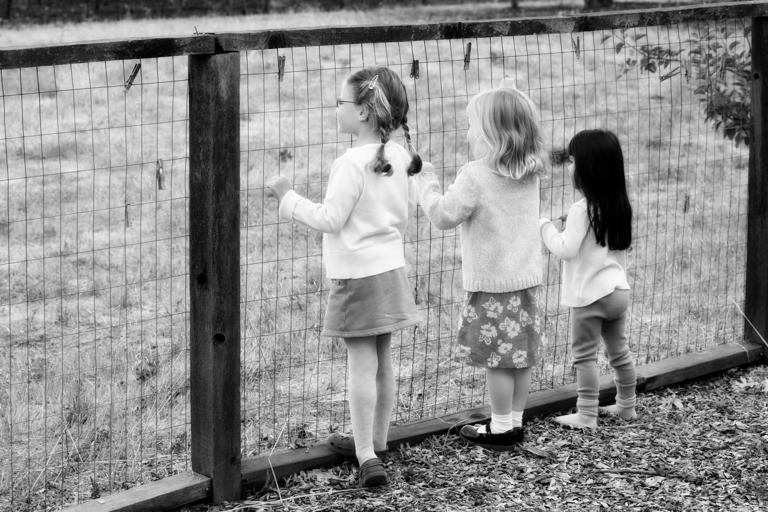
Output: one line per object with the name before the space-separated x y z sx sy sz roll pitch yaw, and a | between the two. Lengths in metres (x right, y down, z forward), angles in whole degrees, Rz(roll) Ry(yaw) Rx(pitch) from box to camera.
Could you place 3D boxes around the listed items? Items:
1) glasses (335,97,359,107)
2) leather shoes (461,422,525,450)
glasses | -0.280 -1.072 7.798 0.195 0.064 0.077 5 16 38
leather shoes | 0.808 1.297 8.288 0.434 0.225 0.187 14 8 13
